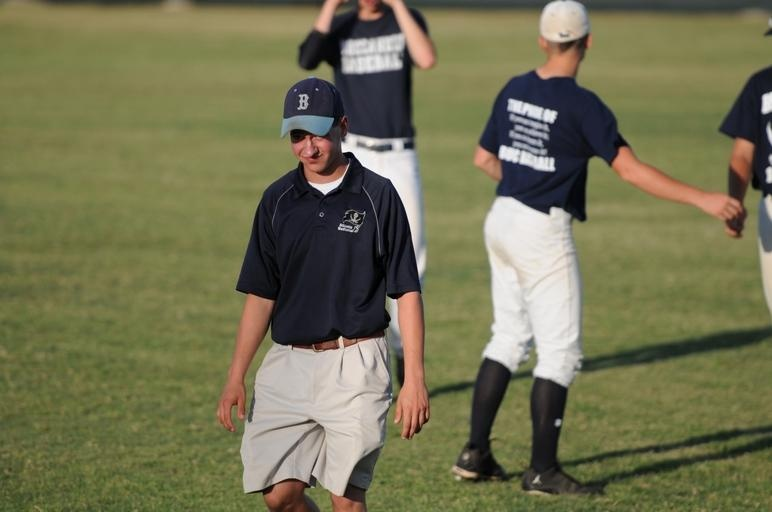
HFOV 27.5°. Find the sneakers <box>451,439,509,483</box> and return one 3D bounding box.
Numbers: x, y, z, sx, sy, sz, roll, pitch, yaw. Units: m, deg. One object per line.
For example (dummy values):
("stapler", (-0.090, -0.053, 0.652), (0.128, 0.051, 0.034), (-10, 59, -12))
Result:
("sneakers", (0.748, 1.684, 12.724), (0.552, 0.247, 0.203), (3, 2, -38))

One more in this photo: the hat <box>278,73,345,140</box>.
("hat", (-0.522, -1.131, 11.837), (0.374, 0.257, 0.502), (4, 23, 13))

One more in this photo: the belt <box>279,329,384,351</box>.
("belt", (-0.366, 0.632, 11.760), (0.702, 0.161, 0.096), (1, 19, -2))

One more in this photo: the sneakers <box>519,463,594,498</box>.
("sneakers", (1.340, 1.801, 12.561), (0.649, 0.203, 0.210), (0, 5, 3))
